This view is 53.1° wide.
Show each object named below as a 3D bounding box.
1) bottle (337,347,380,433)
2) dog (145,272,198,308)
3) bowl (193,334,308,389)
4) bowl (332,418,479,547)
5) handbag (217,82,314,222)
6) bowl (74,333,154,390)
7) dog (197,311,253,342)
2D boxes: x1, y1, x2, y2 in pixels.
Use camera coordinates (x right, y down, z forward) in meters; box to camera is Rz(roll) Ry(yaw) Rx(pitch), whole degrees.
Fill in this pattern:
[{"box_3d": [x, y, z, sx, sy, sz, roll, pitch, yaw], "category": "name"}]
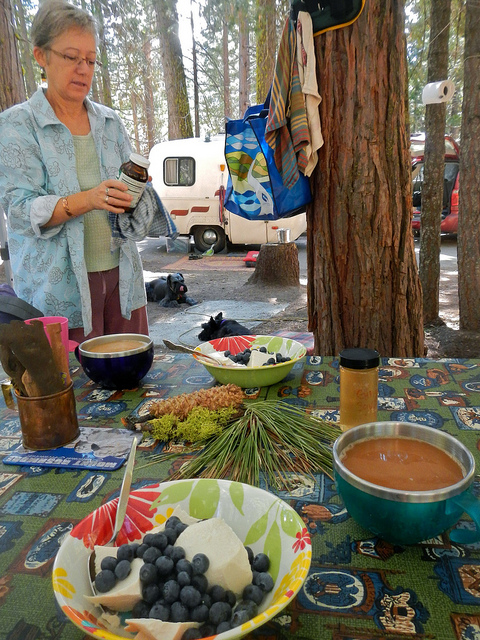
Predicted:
[{"box_3d": [0.305, 0.170, 1.264, 0.131, 0.220, 0.106, 2, 10, 11], "category": "bottle"}, {"box_3d": [-1.238, -0.622, 8.664, 1.002, 0.596, 1.105, 0, 17, 5], "category": "dog"}, {"box_3d": [0.044, 0.149, 1.676, 0.364, 0.106, 0.355, -4, 14, 1], "category": "bowl"}, {"box_3d": [0.278, 0.266, 0.840, 0.201, 0.112, 0.254, -6, 22, -5], "category": "bowl"}, {"box_3d": [0.109, -0.920, 2.768, 0.388, 0.661, 0.668, -11, 13, -42], "category": "handbag"}, {"box_3d": [-0.408, 0.135, 1.658, 0.218, 0.116, 0.215, -2, 13, 0], "category": "bowl"}, {"box_3d": [-0.236, 0.139, 5.494, 0.779, 0.380, 0.270, 11, 16, 41], "category": "dog"}]
